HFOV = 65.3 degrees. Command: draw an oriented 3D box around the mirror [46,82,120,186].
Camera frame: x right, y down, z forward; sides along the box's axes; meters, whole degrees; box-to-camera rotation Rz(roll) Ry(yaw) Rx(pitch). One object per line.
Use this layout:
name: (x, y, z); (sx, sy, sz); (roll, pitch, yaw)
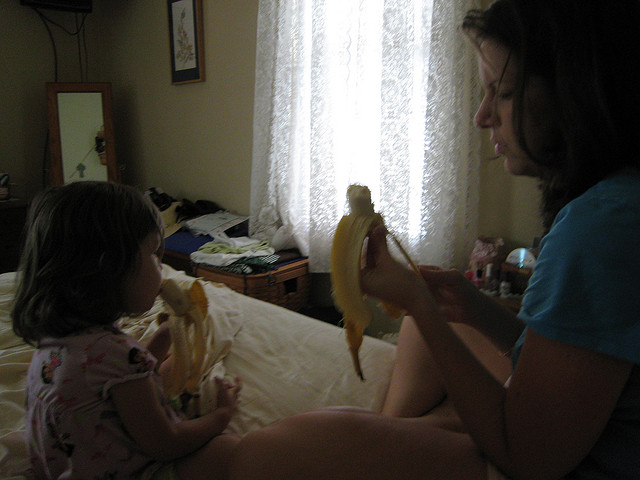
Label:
mirror: (-1.785, -0.727, 3.779); (0.454, 1.096, 0.070); (-4, -22, -23)

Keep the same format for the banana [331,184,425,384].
banana: (0.125, 0.049, 1.031); (0.117, 0.593, 0.195); (-6, 4, 10)
